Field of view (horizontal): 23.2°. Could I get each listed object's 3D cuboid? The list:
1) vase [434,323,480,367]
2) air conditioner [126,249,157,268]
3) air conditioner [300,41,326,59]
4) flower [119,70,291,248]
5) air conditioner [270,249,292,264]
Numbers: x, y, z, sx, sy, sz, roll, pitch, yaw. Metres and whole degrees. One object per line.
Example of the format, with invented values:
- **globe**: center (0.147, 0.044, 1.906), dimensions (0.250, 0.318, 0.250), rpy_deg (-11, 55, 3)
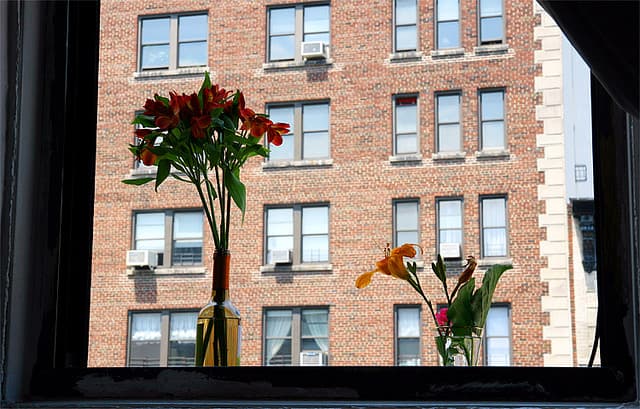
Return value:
- **vase**: center (1.823, 1.788, 19.916), dimensions (0.580, 0.602, 0.625), rpy_deg (1, 7, 3)
- **air conditioner**: center (-3.301, 1.062, 28.919), dimensions (0.477, 0.298, 0.327), rpy_deg (0, -12, 6)
- **air conditioner**: center (-0.108, -2.899, 29.206), dimensions (0.472, 0.300, 0.738), rpy_deg (-2, -12, 0)
- **flower**: center (-1.437, -0.561, 19.738), dimensions (1.790, 2.217, 0.449), rpy_deg (0, -12, -8)
- **air conditioner**: center (-0.707, 0.937, 28.746), dimensions (0.362, 0.249, 0.250), rpy_deg (-2, -13, 8)
